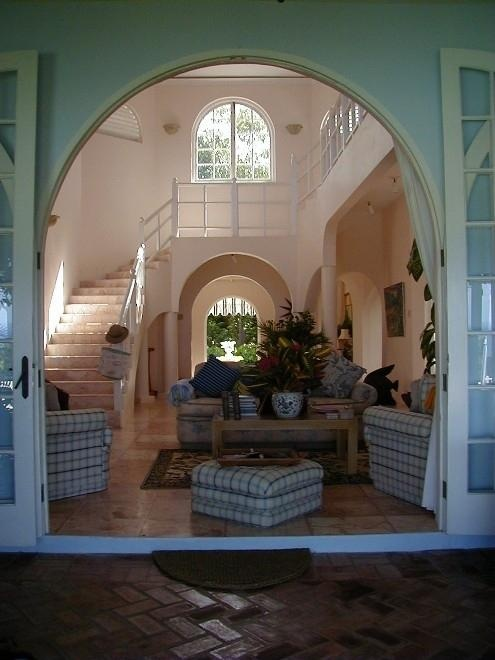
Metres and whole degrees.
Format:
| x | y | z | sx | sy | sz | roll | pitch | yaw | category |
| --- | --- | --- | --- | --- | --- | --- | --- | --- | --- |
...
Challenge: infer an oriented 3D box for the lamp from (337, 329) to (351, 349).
| x | y | z | sx | sy | sz | roll | pitch | yaw | category |
| --- | --- | --- | --- | --- | --- | --- | --- | --- | --- |
| 2.385 | 0.219 | 12.557 | 0.405 | 0.598 | 0.446 | 0 | 1 | 24 | lamp |

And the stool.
| x | y | z | sx | sy | sz | roll | pitch | yaw | category |
| --- | --- | --- | --- | --- | --- | --- | --- | --- | --- |
| 0.084 | 0.972 | 3.018 | 0.823 | 0.314 | 0.436 | 0 | -2 | -6 | stool |

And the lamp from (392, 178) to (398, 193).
| x | y | z | sx | sy | sz | roll | pitch | yaw | category |
| --- | --- | --- | --- | --- | --- | --- | --- | --- | --- |
| 2.198 | -2.148 | 7.590 | 0.076 | 0.208 | 0.351 | -1 | -2 | 16 | lamp |

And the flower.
| x | y | z | sx | sy | sz | roll | pitch | yaw | category |
| --- | --- | --- | --- | --- | --- | --- | --- | --- | --- |
| 0.287 | 0.394 | 4.687 | 0.670 | 0.702 | 0.596 | -15 | -21 | 9 | flower |

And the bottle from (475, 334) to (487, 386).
| x | y | z | sx | sy | sz | roll | pitch | yaw | category |
| --- | --- | --- | --- | --- | --- | --- | --- | --- | --- |
| 1.241 | 0.157 | 2.695 | 0.071 | 0.248 | 0.018 | 0 | -2 | -3 | bottle |

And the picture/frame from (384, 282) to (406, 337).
| x | y | z | sx | sy | sz | roll | pitch | yaw | category |
| --- | --- | --- | --- | --- | --- | --- | --- | --- | --- |
| 2.476 | -0.306 | 8.722 | 0.019 | 0.904 | 0.906 | -2 | 1 | 38 | picture/frame |

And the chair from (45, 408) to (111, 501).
| x | y | z | sx | sy | sz | roll | pitch | yaw | category |
| --- | --- | --- | --- | --- | --- | --- | --- | --- | --- |
| -1.296 | 0.881 | 3.745 | 0.488 | 0.609 | 0.571 | 2 | -15 | -12 | chair |

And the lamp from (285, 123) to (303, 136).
| x | y | z | sx | sy | sz | roll | pitch | yaw | category |
| --- | --- | --- | --- | --- | --- | --- | --- | --- | --- |
| 1.012 | -4.352 | 11.007 | 0.258 | 0.108 | 0.259 | 0 | -1 | 3 | lamp |

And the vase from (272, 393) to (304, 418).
| x | y | z | sx | sy | sz | roll | pitch | yaw | category |
| --- | --- | --- | --- | --- | --- | --- | --- | --- | --- |
| 0.339 | 0.627 | 4.275 | 0.224 | 0.173 | 0.224 | 1 | -11 | -1 | vase |

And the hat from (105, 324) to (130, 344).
| x | y | z | sx | sy | sz | roll | pitch | yaw | category |
| --- | --- | --- | --- | --- | --- | --- | --- | --- | --- |
| -1.743 | 0.056 | 6.800 | 0.285 | 0.277 | 0.181 | 0 | -2 | -5 | hat |

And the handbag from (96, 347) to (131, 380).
| x | y | z | sx | sy | sz | roll | pitch | yaw | category |
| --- | --- | --- | --- | --- | --- | --- | --- | --- | --- |
| -1.718 | 0.417 | 6.599 | 0.405 | 0.399 | 0.376 | 7 | 2 | -16 | handbag |

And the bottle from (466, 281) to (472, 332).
| x | y | z | sx | sy | sz | roll | pitch | yaw | category |
| --- | --- | --- | --- | --- | --- | --- | --- | --- | --- |
| 1.175 | -0.124 | 2.696 | 0.033 | 0.247 | 0.012 | 2 | -3 | -39 | bottle |

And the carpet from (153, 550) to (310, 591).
| x | y | z | sx | sy | sz | roll | pitch | yaw | category |
| --- | --- | --- | --- | --- | --- | --- | --- | --- | --- |
| -0.073 | 1.124 | 2.415 | 0.803 | 0.036 | 0.504 | 0 | -2 | -2 | carpet |
